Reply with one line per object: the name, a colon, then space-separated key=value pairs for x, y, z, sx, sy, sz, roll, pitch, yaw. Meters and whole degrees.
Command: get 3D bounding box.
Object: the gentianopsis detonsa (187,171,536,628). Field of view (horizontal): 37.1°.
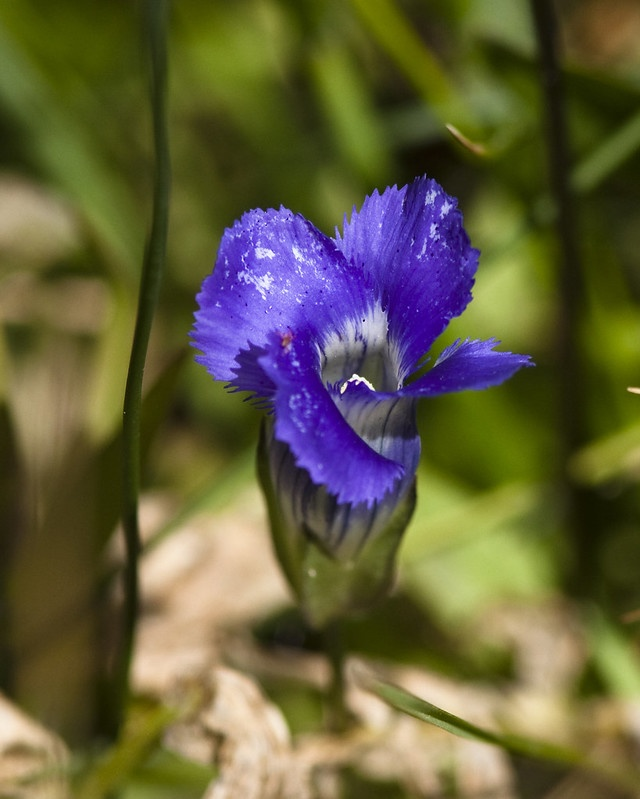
gentianopsis detonsa: x=0.031 y=-0.010 z=0.621 sx=0.192 sy=0.156 sz=0.244 roll=-23 pitch=73 yaw=-17
